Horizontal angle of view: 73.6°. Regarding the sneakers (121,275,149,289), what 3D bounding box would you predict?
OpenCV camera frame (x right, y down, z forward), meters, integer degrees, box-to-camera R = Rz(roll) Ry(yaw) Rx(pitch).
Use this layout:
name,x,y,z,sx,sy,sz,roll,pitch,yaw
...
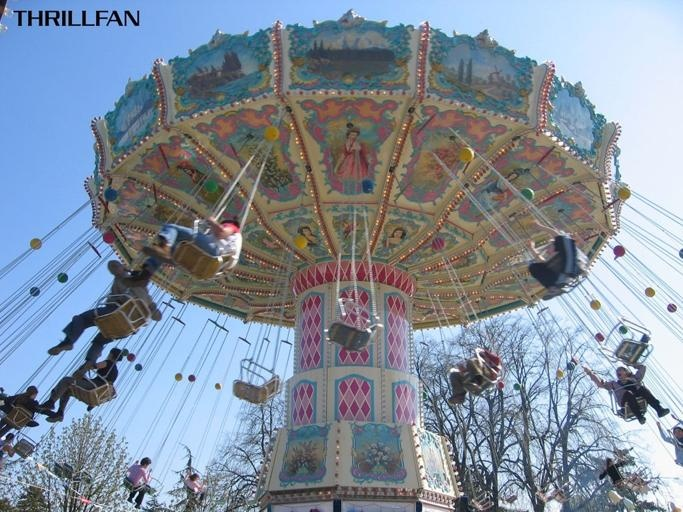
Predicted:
name,x,y,z,sx,sy,sz,roll,pitch,yaw
sneakers,-2.721,0.366,6.047,0.231,0.093,0.178,2,-32,7
